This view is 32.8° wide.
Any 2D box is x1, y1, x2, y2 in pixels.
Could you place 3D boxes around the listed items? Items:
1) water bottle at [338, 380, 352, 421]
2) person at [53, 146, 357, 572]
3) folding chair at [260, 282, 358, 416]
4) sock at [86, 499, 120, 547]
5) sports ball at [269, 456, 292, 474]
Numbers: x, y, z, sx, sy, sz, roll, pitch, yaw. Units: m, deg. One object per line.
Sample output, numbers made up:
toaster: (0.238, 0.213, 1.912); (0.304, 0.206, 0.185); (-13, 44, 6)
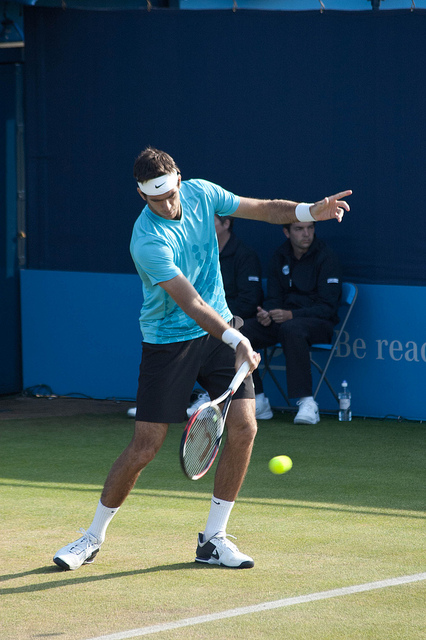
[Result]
water bottle: (1.035, 0.627, 5.724); (0.106, 0.321, 0.305); (1, 4, 10)
person: (-0.063, 0.119, 2.445); (0.555, 1.374, 0.793); (3, 5, 35)
folding chair: (0.744, 0.237, 5.789); (0.741, 1.083, 0.543); (1, 5, 17)
sock: (-0.386, 0.690, 2.486); (0.100, 0.188, 0.176); (-1, 4, -10)
sports ball: (0.311, 0.674, 3.362); (0.082, 0.073, 0.101); (-1, 0, -6)
